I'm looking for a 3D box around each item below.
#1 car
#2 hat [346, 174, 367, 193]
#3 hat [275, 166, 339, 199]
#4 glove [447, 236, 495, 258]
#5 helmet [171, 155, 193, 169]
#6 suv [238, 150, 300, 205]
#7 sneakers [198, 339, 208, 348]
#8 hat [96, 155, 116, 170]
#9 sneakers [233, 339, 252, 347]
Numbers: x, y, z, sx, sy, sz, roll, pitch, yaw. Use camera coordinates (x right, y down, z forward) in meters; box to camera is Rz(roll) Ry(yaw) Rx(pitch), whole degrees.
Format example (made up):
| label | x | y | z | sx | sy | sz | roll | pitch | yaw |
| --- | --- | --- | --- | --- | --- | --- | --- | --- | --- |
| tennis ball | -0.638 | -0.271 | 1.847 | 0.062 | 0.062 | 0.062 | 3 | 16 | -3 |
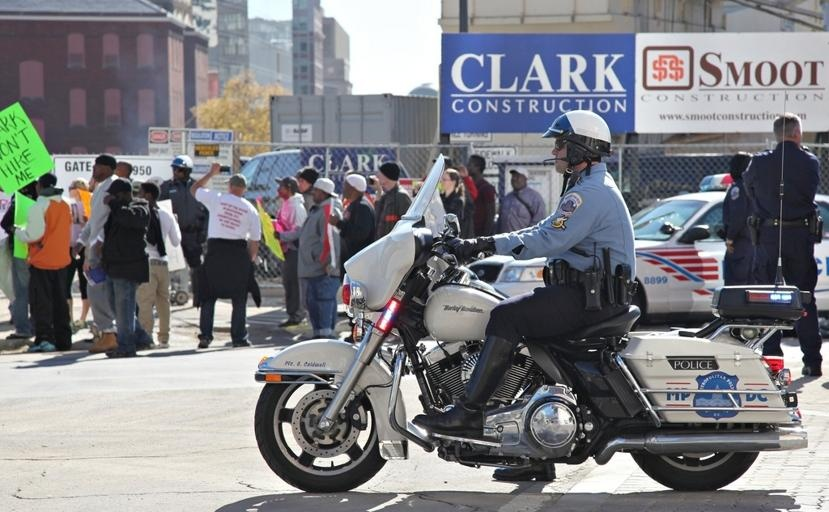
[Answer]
| label | x | y | z | sx | sy | sz | roll | pitch | yaw |
| --- | --- | --- | --- | --- | --- | --- | --- | --- | --- |
| car | 3.873 | 0.001 | 23.797 | 5.636 | 1.681 | 2.531 | 0 | -1 | -21 |
| hat | -0.919 | -1.226 | 23.864 | 0.361 | 0.260 | 0.239 | 12 | 40 | -9 |
| hat | -1.852 | -1.371 | 24.655 | 0.878 | 0.312 | 0.654 | 12 | -6 | -4 |
| glove | 0.684 | -0.113 | 17.862 | 0.485 | 0.260 | 0.177 | 2 | -23 | -2 |
| helmet | -4.056 | -1.654 | 25.426 | 0.357 | 0.268 | 0.262 | 5 | -3 | -43 |
| suv | -3.296 | -1.821 | 32.628 | 1.077 | 0.907 | 1.768 | -3 | 8 | -36 |
| sneakers | -3.463 | 1.412 | 23.827 | 0.152 | 0.125 | 0.145 | -11 | 7 | -13 |
| hat | -5.033 | -1.519 | 23.678 | 0.356 | 0.239 | 0.257 | -2 | 3 | -25 |
| sneakers | -2.844 | 1.426 | 23.962 | 0.248 | 0.145 | 0.128 | 3 | -3 | -13 |
